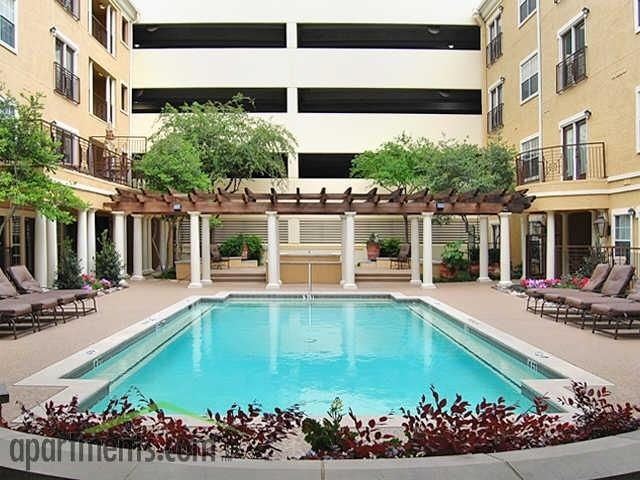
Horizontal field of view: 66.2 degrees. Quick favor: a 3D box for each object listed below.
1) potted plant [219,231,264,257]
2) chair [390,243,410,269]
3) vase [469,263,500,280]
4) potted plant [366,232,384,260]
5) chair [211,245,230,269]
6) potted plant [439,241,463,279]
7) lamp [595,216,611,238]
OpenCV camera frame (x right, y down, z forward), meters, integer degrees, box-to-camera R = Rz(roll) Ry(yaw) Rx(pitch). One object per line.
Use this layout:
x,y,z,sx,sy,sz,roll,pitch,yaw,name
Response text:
-3.979,0.286,25.891,1.371,1.005,1.492,1,-2,-5,potted plant
3.831,0.800,23.612,0.931,1.203,1.814,0,5,9,chair
7.128,1.332,21.174,0.869,0.557,0.884,0,-4,-5,vase
2.820,0.391,25.874,0.772,1.359,2.034,0,5,6,potted plant
-4.755,0.858,23.006,0.931,1.255,1.854,-1,0,-1,chair
5.761,0.809,21.224,0.974,1.460,2.280,1,5,17,potted plant
9.331,-0.418,16.204,0.393,0.741,1.154,2,6,31,lamp
